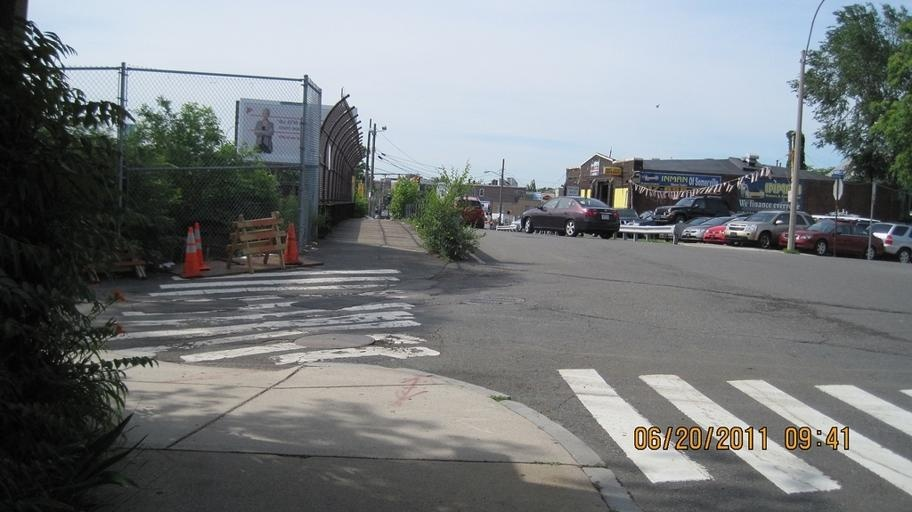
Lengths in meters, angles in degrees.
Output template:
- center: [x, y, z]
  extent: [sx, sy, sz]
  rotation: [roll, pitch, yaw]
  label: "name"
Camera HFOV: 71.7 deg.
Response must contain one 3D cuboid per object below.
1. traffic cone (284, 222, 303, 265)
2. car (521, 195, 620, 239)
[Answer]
- center: [-4.414, -0.345, 17.071]
  extent: [0.468, 1.061, 0.627]
  rotation: [0, 11, -15]
  label: "traffic cone"
- center: [5.873, -2.093, 32.675]
  extent: [2.186, 1.475, 4.649]
  rotation: [0, 5, -33]
  label: "car"
